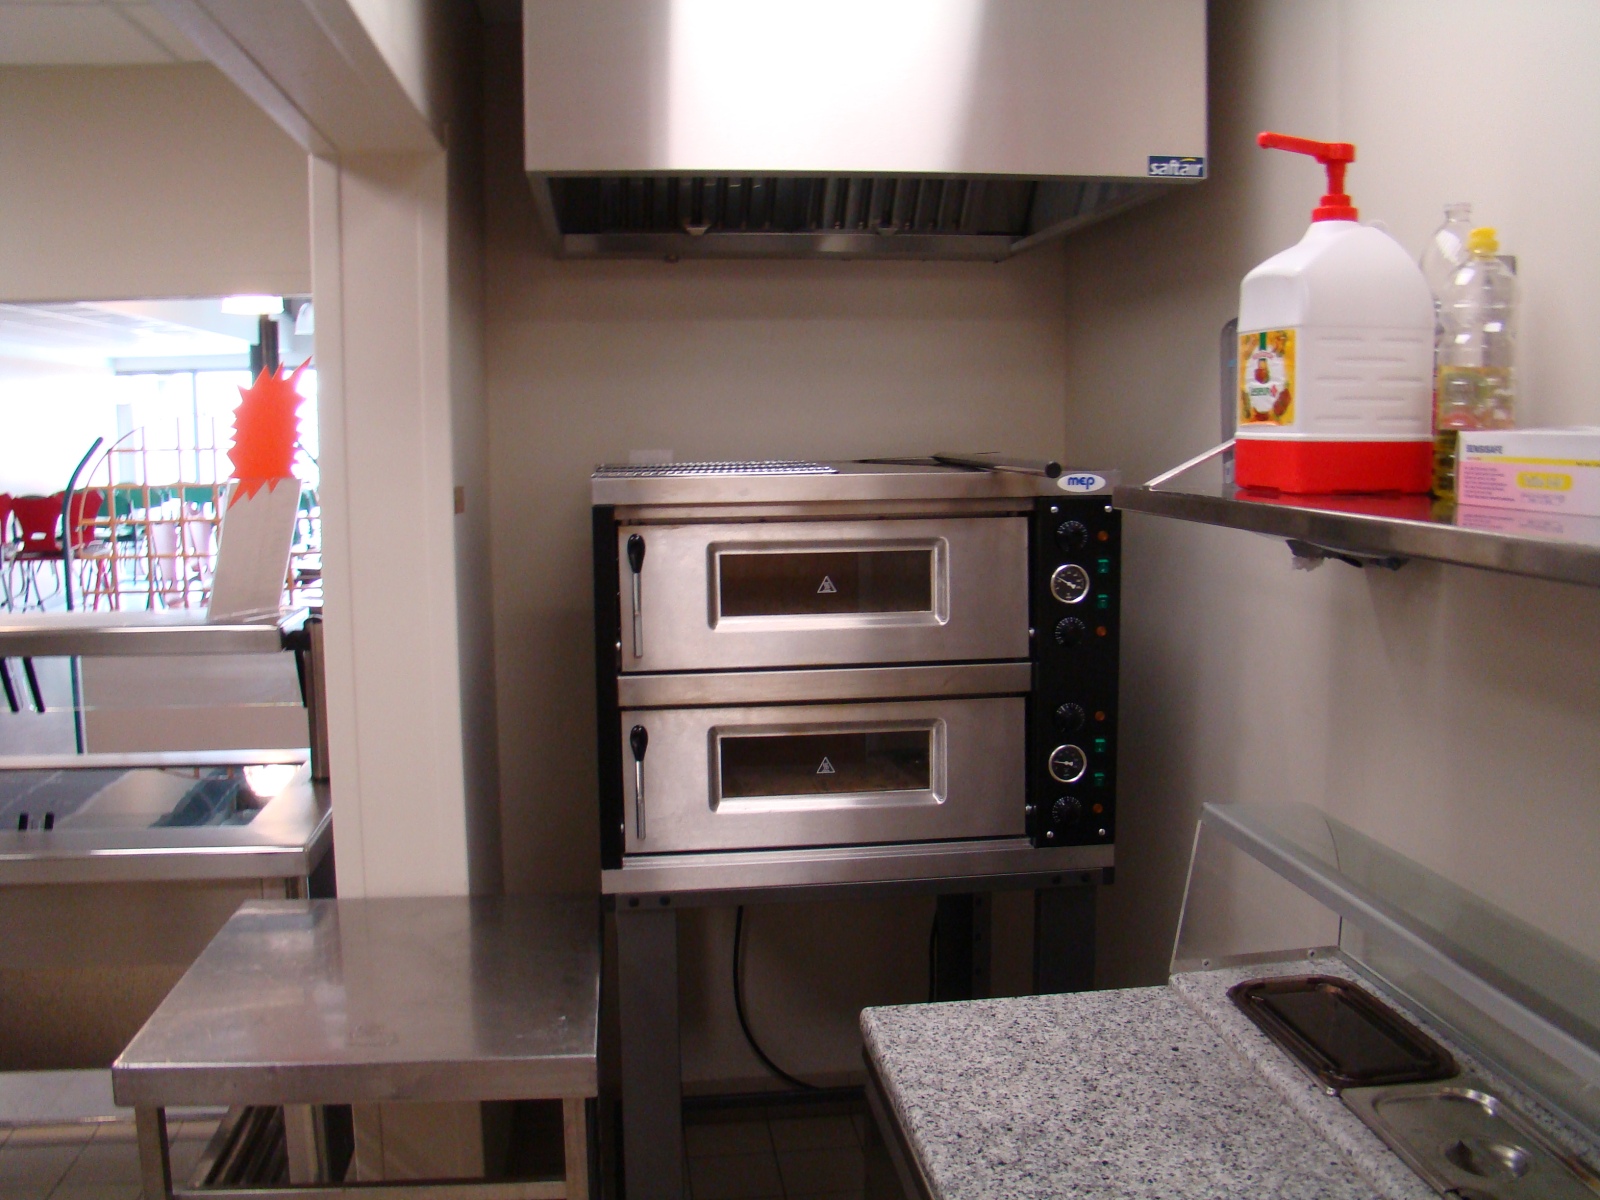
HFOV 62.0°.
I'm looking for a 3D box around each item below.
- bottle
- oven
[{"bbox_3d":[0.849,-0.314,1.681,0.096,0.364,0.174,1,7,27],"label":"bottle"},{"bbox_3d":[0.028,0.143,2.514,0.982,0.711,0.580,-1,2,-22],"label":"oven"}]
